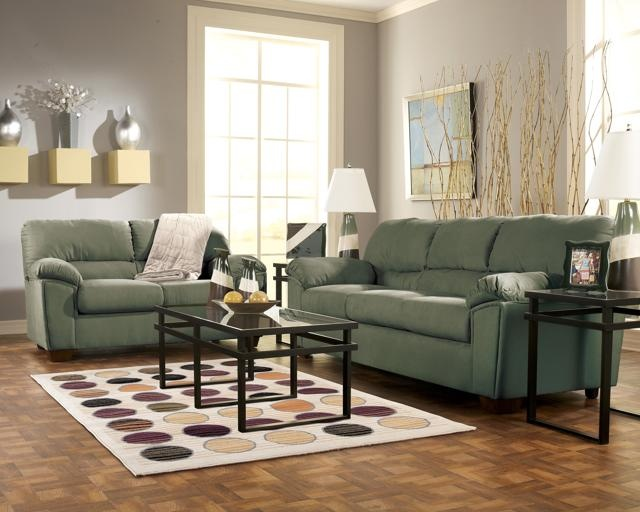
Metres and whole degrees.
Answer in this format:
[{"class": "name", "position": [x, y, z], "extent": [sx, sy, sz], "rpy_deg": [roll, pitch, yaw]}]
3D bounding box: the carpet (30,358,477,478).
[{"class": "carpet", "position": [-0.504, 0.772, 3.053], "extent": [1.463, 0.030, 1.976], "rpy_deg": [0, 1, -34]}]

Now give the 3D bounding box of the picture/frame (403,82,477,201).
[{"class": "picture/frame", "position": [1.270, -1.177, 6.118], "extent": [0.126, 1.198, 1.025], "rpy_deg": [-1, 2, -31]}]

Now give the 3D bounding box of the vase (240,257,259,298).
[{"class": "vase", "position": [-0.374, 0.112, 3.000], "extent": [0.095, 0.206, 0.225], "rpy_deg": [0, 1, -7]}]

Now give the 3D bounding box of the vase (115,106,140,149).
[{"class": "vase", "position": [-1.923, -1.268, 5.704], "extent": [0.234, 0.450, 0.217], "rpy_deg": [0, 1, -21]}]

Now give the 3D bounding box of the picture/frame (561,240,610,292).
[{"class": "picture/frame", "position": [1.319, 0.051, 2.831], "extent": [0.029, 0.249, 0.254], "rpy_deg": [4, -1, -26]}]

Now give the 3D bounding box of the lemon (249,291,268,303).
[{"class": "lemon", "position": [-0.309, 0.206, 2.907], "extent": [0.071, 0.044, 0.073], "rpy_deg": [-4, 7, -45]}]

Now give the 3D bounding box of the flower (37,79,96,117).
[{"class": "flower", "position": [-2.522, -1.600, 5.571], "extent": [0.440, 0.126, 0.368], "rpy_deg": [6, -4, 5]}]

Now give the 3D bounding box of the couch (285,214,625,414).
[{"class": "couch", "position": [0.749, 0.236, 3.824], "extent": [1.039, 0.816, 2.168], "rpy_deg": [-8, 6, -30]}]

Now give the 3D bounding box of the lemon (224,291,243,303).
[{"class": "lemon", "position": [-0.431, 0.205, 2.854], "extent": [0.079, 0.047, 0.070], "rpy_deg": [1, 2, 23]}]

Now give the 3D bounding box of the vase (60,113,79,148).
[{"class": "vase", "position": [-2.401, -1.184, 5.430], "extent": [0.176, 0.330, 0.085], "rpy_deg": [0, 2, -12]}]
